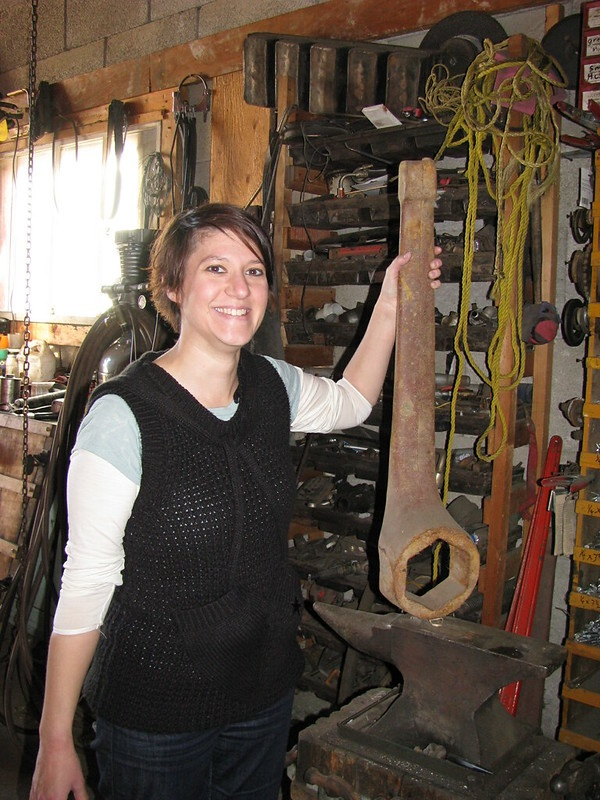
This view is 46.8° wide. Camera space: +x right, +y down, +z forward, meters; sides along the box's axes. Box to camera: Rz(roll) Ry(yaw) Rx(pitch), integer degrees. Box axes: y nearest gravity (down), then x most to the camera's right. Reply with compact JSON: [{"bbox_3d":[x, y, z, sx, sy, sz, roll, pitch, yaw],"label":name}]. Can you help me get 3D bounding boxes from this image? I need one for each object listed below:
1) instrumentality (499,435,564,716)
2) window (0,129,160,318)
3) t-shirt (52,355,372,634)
[{"bbox_3d":[0.875,0.635,2.602,0.148,0.968,0.519,2,5,28],"label":"instrumentality"},{"bbox_3d":[-1.353,-1.130,4.336,0.095,1.124,2.021,-1,-1,-44],"label":"window"},{"bbox_3d":[-0.171,0.153,1.364,0.117,0.464,0.637,3,5,40],"label":"t-shirt"}]
